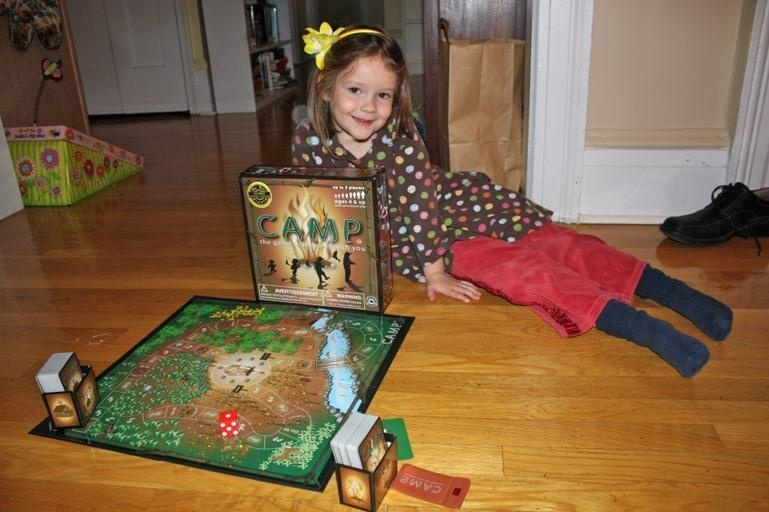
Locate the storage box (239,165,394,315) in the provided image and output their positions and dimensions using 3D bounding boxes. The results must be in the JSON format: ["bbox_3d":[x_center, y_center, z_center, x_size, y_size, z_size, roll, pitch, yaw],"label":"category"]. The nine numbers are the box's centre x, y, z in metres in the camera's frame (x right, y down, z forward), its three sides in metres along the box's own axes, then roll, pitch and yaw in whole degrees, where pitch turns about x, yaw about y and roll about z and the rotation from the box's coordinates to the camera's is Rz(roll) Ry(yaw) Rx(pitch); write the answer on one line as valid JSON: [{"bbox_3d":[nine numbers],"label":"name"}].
[{"bbox_3d":[-0.213,-0.051,1.722,0.554,0.467,0.175,2,29,13],"label":"storage box"}]

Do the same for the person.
[{"bbox_3d":[0.400,-0.233,1.872,1.705,0.788,0.628,27,48,29],"label":"person"}]
